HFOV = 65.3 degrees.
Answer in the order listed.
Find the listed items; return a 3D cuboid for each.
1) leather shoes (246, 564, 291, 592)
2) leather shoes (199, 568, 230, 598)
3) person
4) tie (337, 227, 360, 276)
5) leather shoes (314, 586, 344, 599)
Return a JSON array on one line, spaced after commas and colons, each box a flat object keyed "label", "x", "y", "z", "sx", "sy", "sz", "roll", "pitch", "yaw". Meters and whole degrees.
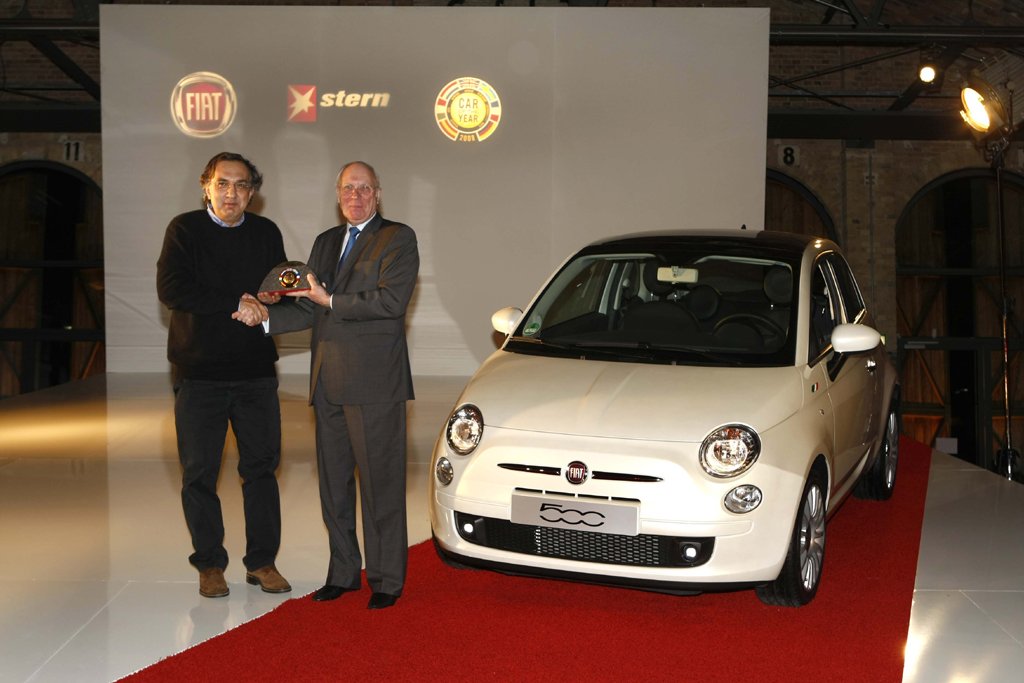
[{"label": "leather shoes", "x": -1.321, "y": 1.265, "z": 4.335, "sx": 0.246, "sy": 0.112, "sz": 0.108, "roll": 2, "pitch": 5, "yaw": 35}, {"label": "leather shoes", "x": -1.580, "y": 1.287, "z": 4.227, "sx": 0.084, "sy": 0.100, "sz": 0.219, "roll": 0, "pitch": -7, "yaw": -25}, {"label": "person", "x": -1.148, "y": 0.180, "z": 4.210, "sx": 1.292, "sy": 2.299, "sz": 0.478, "roll": 2, "pitch": 9, "yaw": 9}, {"label": "tie", "x": -0.848, "y": -0.493, "z": 4.169, "sx": 0.083, "sy": 0.282, "sz": 0.032, "roll": 11, "pitch": -23, "yaw": 20}, {"label": "leather shoes", "x": -0.957, "y": 1.303, "z": 4.172, "sx": 0.061, "sy": 0.049, "sz": 0.125, "roll": -3, "pitch": -13, "yaw": 18}]
